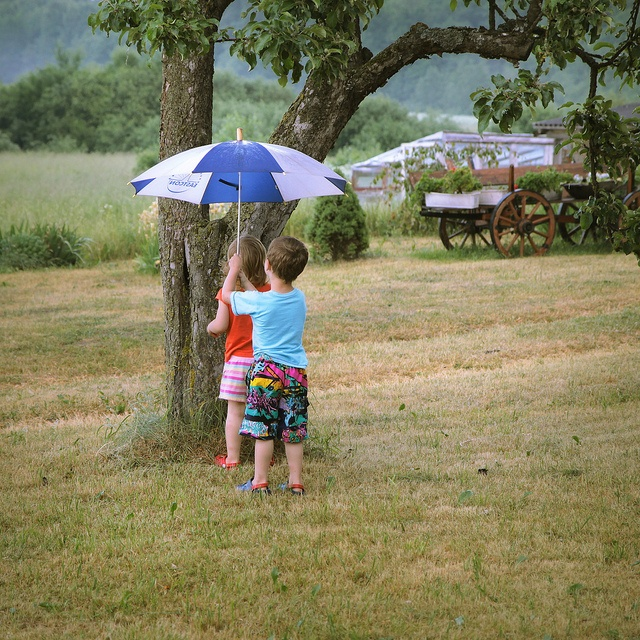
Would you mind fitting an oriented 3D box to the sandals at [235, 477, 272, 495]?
[{"bbox_3d":[-0.549,1.412,12.767,0.287,0.160,0.123,8,-2,32],"label":"sandals"}]

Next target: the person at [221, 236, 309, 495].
[{"bbox_3d":[-0.394,0.394,12.757,0.600,2.113,0.333,-1,7,-3],"label":"person"}]

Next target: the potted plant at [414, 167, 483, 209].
[{"bbox_3d":[1.635,-1.805,20.634,0.494,0.437,1.059,-8,11,-38],"label":"potted plant"}]

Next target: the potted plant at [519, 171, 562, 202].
[{"bbox_3d":[2.983,-1.782,20.754,0.299,0.453,0.975,6,12,42],"label":"potted plant"}]

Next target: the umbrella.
[{"bbox_3d":[-0.669,-1.105,12.958,1.703,0.981,0.745,-3,8,-10],"label":"umbrella"}]
